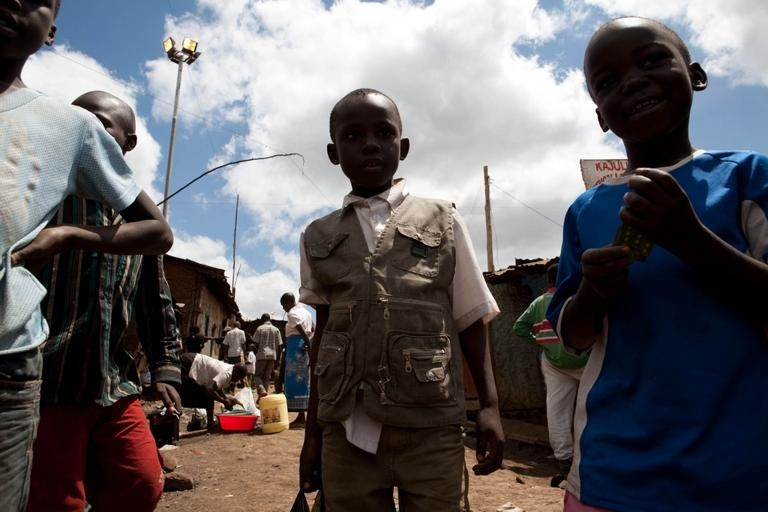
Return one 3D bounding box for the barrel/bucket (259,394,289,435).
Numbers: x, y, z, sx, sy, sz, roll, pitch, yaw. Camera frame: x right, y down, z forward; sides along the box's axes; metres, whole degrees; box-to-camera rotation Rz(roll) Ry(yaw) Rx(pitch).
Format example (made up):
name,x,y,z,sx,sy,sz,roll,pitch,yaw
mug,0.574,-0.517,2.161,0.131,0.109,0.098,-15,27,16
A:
name,x,y,z,sx,sy,sz,roll,pitch,yaw
barrel/bucket,-1.567,2.340,7.747,0.453,0.511,0.483,-8,-17,-2
